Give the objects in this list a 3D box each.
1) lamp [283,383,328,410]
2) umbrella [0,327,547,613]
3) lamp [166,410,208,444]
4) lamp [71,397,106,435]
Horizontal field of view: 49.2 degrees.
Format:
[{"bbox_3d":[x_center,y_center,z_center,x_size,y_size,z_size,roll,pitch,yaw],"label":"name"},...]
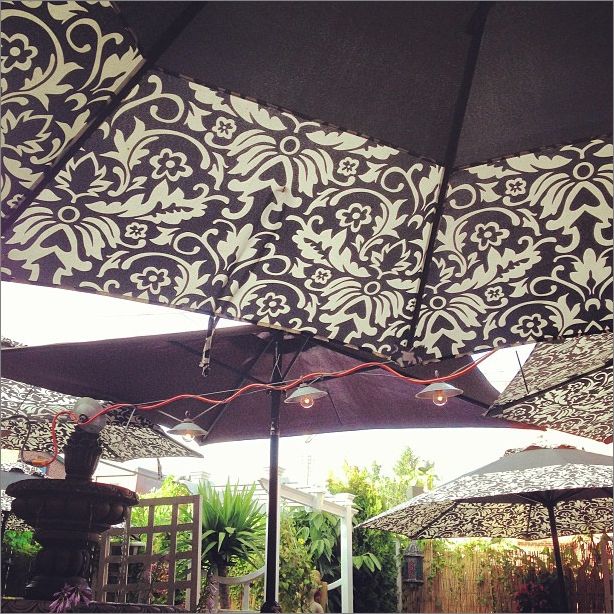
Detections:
[{"bbox_3d":[-0.028,0.493,3.916,0.292,0.163,0.256,-2,-28,1],"label":"lamp"},{"bbox_3d":[-0.202,1.503,5.710,3.563,1.922,2.721,5,-29,-7],"label":"umbrella"},{"bbox_3d":[-0.831,0.831,4.742,0.357,0.206,0.314,0,-28,-1],"label":"lamp"},{"bbox_3d":[-1.245,0.600,3.829,0.217,0.181,0.135,-6,12,15],"label":"lamp"}]
